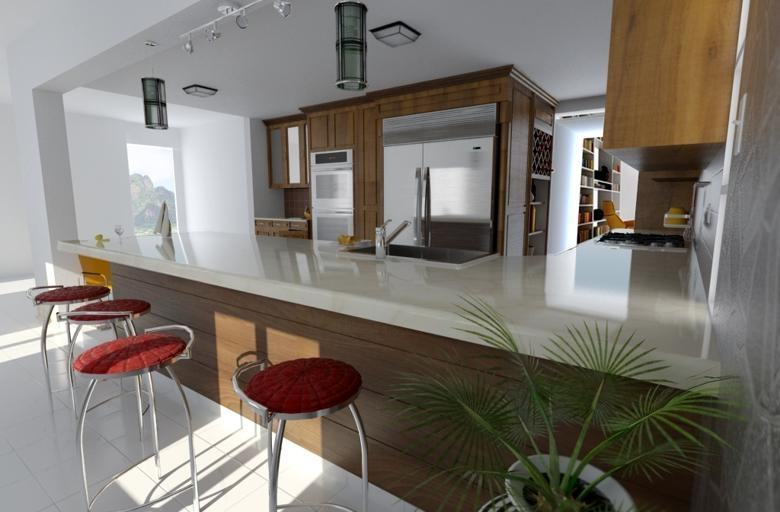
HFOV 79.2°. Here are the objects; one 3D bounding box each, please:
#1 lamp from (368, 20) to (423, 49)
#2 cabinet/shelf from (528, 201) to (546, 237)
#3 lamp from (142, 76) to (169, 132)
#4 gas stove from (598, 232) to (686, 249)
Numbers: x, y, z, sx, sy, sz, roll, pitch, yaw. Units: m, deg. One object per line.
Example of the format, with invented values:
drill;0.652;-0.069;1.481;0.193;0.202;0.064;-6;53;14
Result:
lamp;0.059;-1.890;4.030;0.340;0.104;0.492;6;12;38
cabinet/shelf;1.943;-0.503;6.260;0.178;0.441;0.503;2;4;35
lamp;-2.062;-1.346;4.123;0.197;0.485;0.557;-7;11;-24
gas stove;2.037;-0.136;3.805;0.579;0.038;0.953;4;11;28
